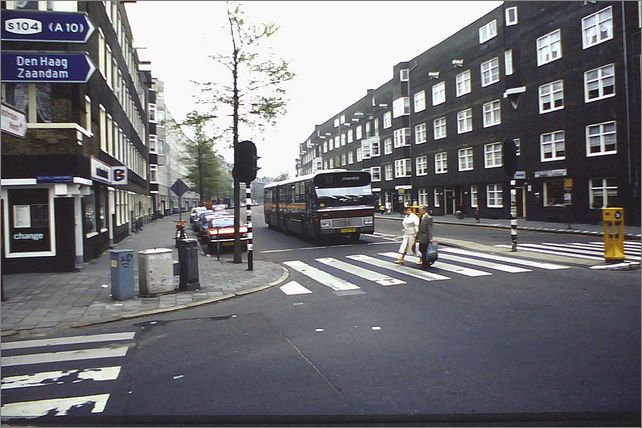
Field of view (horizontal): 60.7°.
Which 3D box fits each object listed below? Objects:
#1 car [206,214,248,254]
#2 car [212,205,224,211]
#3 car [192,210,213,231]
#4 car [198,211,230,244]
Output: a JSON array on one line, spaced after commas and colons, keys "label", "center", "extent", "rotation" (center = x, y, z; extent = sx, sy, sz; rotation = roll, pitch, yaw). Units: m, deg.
[{"label": "car", "center": [-4.525, 0.689, 25.975], "extent": [1.904, 1.310, 3.376], "rotation": [-3, 13, -15]}, {"label": "car", "center": [-9.385, -0.526, 49.853], "extent": [0.875, 0.666, 2.955], "rotation": [-1, 1, -9]}, {"label": "car", "center": [-8.094, 0.482, 37.662], "extent": [1.653, 1.150, 2.503], "rotation": [-1, 10, -15]}, {"label": "car", "center": [-6.148, 0.666, 31.156], "extent": [1.652, 1.142, 2.986], "rotation": [-1, -1, -17]}]
